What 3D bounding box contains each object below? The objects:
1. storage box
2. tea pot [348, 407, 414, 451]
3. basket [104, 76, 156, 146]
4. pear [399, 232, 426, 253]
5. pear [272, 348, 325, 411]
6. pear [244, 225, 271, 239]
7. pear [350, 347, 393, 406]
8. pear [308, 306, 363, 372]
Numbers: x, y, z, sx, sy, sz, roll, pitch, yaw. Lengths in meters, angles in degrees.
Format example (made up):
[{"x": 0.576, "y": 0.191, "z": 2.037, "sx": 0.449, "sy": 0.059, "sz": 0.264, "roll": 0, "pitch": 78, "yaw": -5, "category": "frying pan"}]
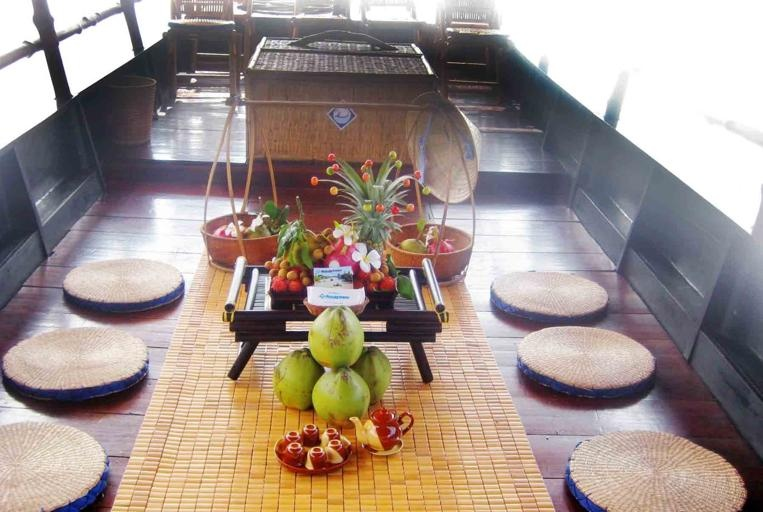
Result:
[{"x": -0.428, "y": -0.949, "z": 4.440, "sx": 1.401, "sy": 0.741, "sz": 1.019, "roll": 1, "pitch": -10, "yaw": -13, "category": "storage box"}, {"x": 0.012, "y": 0.692, "z": 2.070, "sx": 0.240, "sy": 0.173, "sz": 0.160, "roll": -3, "pitch": 9, "yaw": -24, "category": "tea pot"}, {"x": -2.180, "y": -1.235, "z": 4.440, "sx": 0.403, "sy": 0.475, "sz": 0.397, "roll": 1, "pitch": 21, "yaw": -22, "category": "basket"}, {"x": 0.190, "y": -0.074, "z": 3.011, "sx": 0.105, "sy": 0.149, "sz": 0.106, "roll": 16, "pitch": 23, "yaw": 33, "category": "pear"}, {"x": -0.337, "y": 0.525, "z": 2.138, "sx": 0.184, "sy": 0.234, "sz": 0.181, "roll": 17, "pitch": 20, "yaw": 2, "category": "pear"}, {"x": -0.722, "y": -0.128, "z": 2.970, "sx": 0.154, "sy": 0.072, "sz": 0.100, "roll": -6, "pitch": 37, "yaw": -11, "category": "pear"}, {"x": -0.029, "y": 0.518, "z": 2.231, "sx": 0.168, "sy": 0.267, "sz": 0.181, "roll": -6, "pitch": 20, "yaw": 5, "category": "pear"}, {"x": -0.185, "y": 0.320, "z": 2.098, "sx": 0.220, "sy": 0.288, "sz": 0.242, "roll": 3, "pitch": 11, "yaw": -1, "category": "pear"}]
